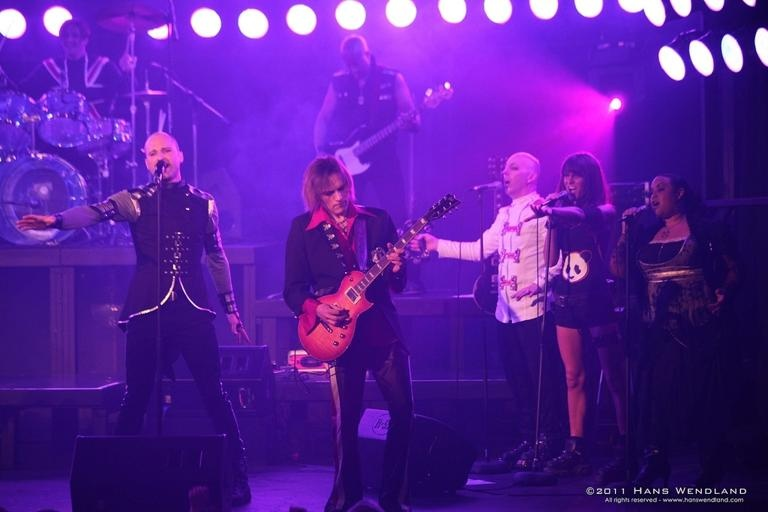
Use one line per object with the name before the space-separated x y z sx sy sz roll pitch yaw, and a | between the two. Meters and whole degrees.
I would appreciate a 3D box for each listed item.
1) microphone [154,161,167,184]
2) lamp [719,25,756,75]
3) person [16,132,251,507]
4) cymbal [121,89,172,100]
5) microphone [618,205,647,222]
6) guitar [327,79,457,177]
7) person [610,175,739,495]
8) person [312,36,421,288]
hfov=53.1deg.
microphone | -1.677 -0.630 5.761 0.090 0.181 0.176 2 -3 -17
lamp | 3.112 -1.827 6.786 0.294 0.313 0.069 25 25 39
person | -1.732 0.488 5.998 1.442 2.956 0.609 2 -3 -11
cymbal | -2.609 -1.789 8.456 0.257 0.066 0.267 -8 9 -9
microphone | 1.964 -0.344 6.072 0.114 0.054 0.215 -17 -2 -2
guitar | 0.052 -1.377 8.453 1.719 0.645 0.201 -38 3 14
person | 2.396 0.581 6.162 0.789 2.465 0.236 1 -3 9
person | -0.142 -1.042 8.284 0.900 2.296 0.252 -6 -12 15
